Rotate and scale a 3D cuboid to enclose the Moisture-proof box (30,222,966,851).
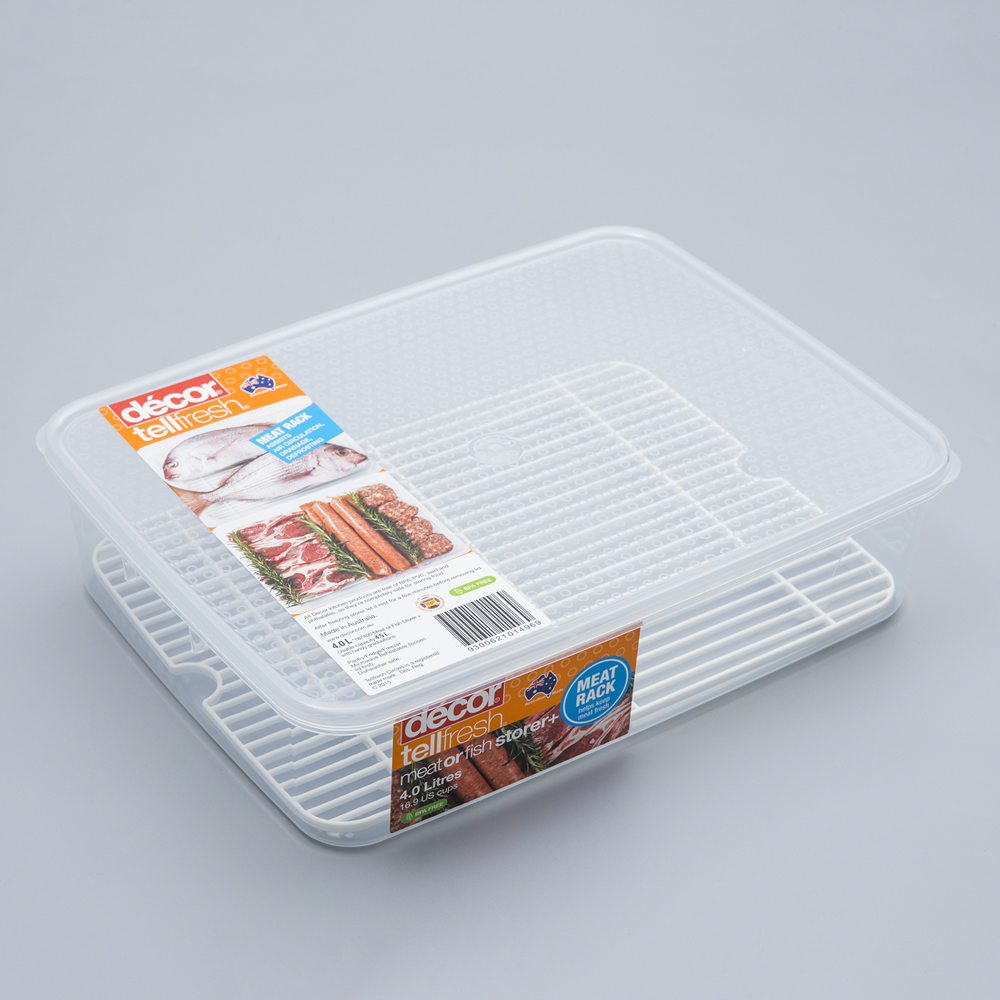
[{"bbox_3d":[0.051,0.055,1.402,0.886,0.572,0.191,-18,-48,-27],"label":"Moisture-proof box"}]
